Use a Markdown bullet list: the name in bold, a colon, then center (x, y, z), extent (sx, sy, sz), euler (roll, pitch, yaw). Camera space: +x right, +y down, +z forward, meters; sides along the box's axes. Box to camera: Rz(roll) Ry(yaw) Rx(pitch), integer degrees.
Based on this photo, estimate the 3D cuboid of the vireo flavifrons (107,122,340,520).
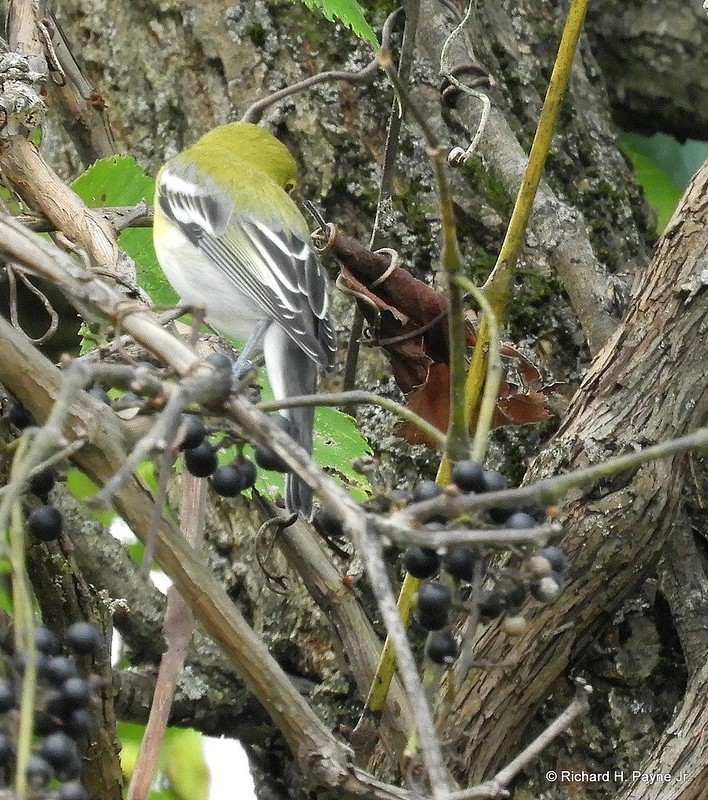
- **vireo flavifrons**: center (-0.255, -0.283, 3.580), extent (0.346, 0.530, 1.260), euler (26, 32, -35)
